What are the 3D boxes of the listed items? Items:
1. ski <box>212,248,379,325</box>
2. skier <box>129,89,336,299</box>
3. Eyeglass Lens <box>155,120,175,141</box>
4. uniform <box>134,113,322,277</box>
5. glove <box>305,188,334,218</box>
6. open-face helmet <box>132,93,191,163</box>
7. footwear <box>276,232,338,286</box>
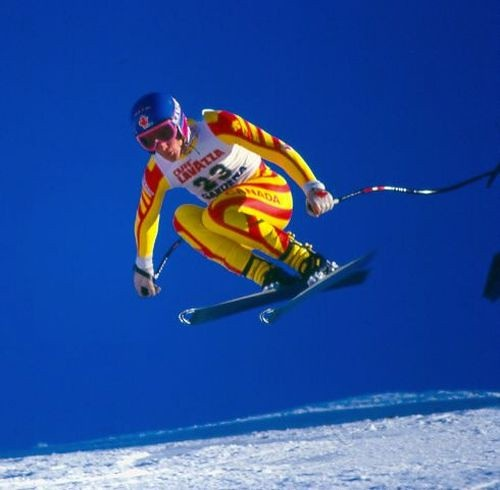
[{"bbox_3d":[0.160,0.155,3.816,0.846,0.104,0.121,-22,39,9],"label":"ski"},{"bbox_3d":[-0.095,-0.247,3.929,0.952,0.720,0.566,49,41,15],"label":"skier"},{"bbox_3d":[-0.425,-0.569,3.958,0.098,0.062,0.032,-6,-4,-5],"label":"Eyeglass Lens"},{"bbox_3d":[-0.147,-0.401,4.211,0.505,0.611,0.303,-30,30,24],"label":"uniform"},{"bbox_3d":[0.335,-0.207,3.829,0.139,0.096,0.143,-6,-3,4],"label":"glove"},{"bbox_3d":[-0.417,-0.578,4.070,0.253,0.084,0.245,-21,9,34],"label":"open-face helmet"},{"bbox_3d":[0.255,0.090,3.862,0.384,0.100,0.146,22,23,-24],"label":"footwear"}]
